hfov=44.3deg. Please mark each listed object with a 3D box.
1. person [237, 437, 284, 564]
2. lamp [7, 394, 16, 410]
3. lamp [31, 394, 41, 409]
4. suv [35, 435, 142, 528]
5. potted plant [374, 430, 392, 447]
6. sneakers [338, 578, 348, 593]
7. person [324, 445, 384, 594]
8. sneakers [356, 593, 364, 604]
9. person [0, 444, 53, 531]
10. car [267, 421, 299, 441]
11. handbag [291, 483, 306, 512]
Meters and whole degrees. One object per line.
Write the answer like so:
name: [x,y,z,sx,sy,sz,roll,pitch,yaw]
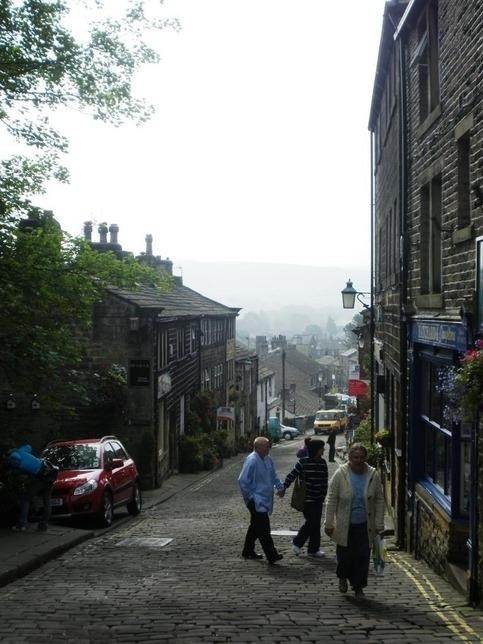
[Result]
person: [0.231,2.190,7.263,0.538,1.257,1.103,-3,-2,-1]
lamp: [-6.518,2.267,16.805,0.252,0.424,0.083,2,0,-42]
lamp: [-6.116,2.391,17.598,0.239,0.469,0.821,-3,-3,-20]
suv: [-2.834,2.952,11.277,1.138,1.137,2.018,-4,-16,10]
potted plant: [3.376,2.782,13.979,0.256,0.352,0.859,-3,-3,-10]
sneakers: [0.921,2.418,5.410,0.066,0.137,0.132,-4,-2,4]
person: [1.054,1.832,5.540,0.469,1.449,0.395,1,7,8]
sneakers: [1.039,2.443,5.238,0.034,0.054,0.117,-1,-17,4]
person: [-3.511,2.747,9.836,0.735,1.560,2.401,-3,-3,-23]
car: [4.035,11.222,60.178,2.649,1.733,1.806,-4,2,-5]
handbag: [0.695,2.187,7.393,0.169,0.322,0.296,-3,-2,0]
